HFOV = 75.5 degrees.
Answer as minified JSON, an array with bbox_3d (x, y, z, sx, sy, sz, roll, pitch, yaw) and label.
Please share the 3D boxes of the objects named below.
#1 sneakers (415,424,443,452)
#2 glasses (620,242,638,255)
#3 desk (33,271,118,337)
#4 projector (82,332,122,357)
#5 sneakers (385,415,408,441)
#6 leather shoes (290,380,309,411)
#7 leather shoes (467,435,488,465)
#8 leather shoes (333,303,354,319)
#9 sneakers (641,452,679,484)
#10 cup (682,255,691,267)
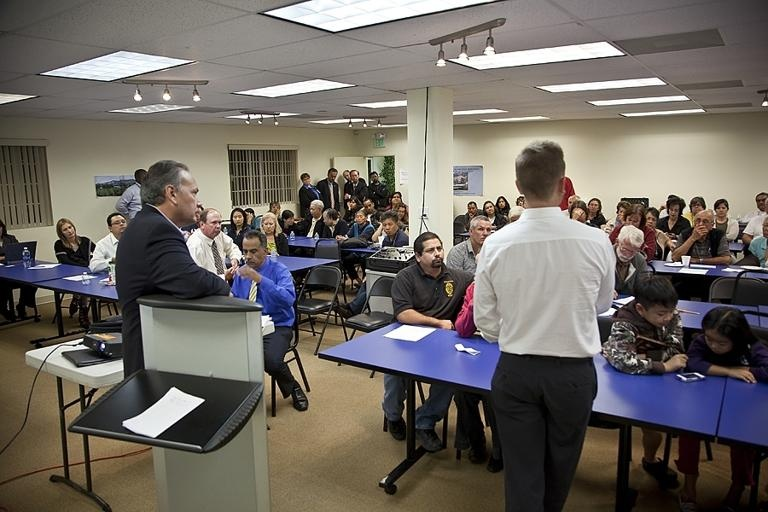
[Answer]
[{"bbox_3d":[0.388,1.583,4.333,0.120,0.128,0.293,-1,-2,-38],"label":"sneakers"},{"bbox_3d":[2.462,-0.071,5.008,0.118,0.069,0.123,4,14,1],"label":"glasses"},{"bbox_3d":[-4.051,0.629,6.561,0.893,0.454,0.471,5,7,37],"label":"desk"},{"bbox_3d":[-2.097,0.661,3.726,0.308,0.084,0.210,12,14,40],"label":"projector"},{"bbox_3d":[0.107,1.573,4.573,0.118,0.101,0.247,-4,6,-33],"label":"sneakers"},{"bbox_3d":[-0.870,1.426,5.070,0.124,0.325,0.100,-22,-27,1],"label":"leather shoes"},{"bbox_3d":[0.798,1.652,4.233,0.094,0.115,0.284,1,6,17],"label":"leather shoes"},{"bbox_3d":[-0.564,0.751,6.962,0.390,0.164,0.129,30,-29,-33],"label":"leather shoes"},{"bbox_3d":[2.199,1.714,3.993,0.106,0.100,0.266,-7,1,-10],"label":"sneakers"},{"bbox_3d":[4.025,0.059,6.633,0.135,0.127,0.114,4,-5,-37],"label":"cup"}]
